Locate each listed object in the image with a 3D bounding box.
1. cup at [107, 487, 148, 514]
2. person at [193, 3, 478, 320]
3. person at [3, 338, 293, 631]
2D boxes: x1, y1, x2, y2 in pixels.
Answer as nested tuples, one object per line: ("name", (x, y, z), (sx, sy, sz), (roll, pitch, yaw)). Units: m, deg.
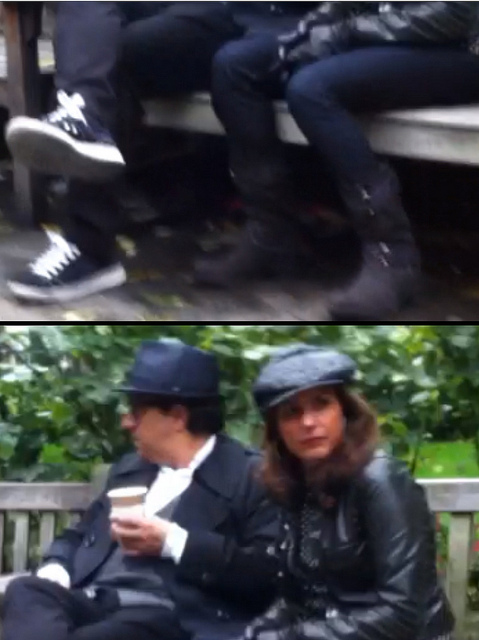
("cup", (-0.398, 0.643, 2.822), (0.120, 0.073, 0.119), (-3, -7, 0))
("person", (0.421, -0.640, 3.336), (1.252, 1.117, 1.195), (-6, 12, -18))
("person", (-0.386, 0.651, 3.607), (1.252, 1.616, 1.061), (2, -2, -20))
